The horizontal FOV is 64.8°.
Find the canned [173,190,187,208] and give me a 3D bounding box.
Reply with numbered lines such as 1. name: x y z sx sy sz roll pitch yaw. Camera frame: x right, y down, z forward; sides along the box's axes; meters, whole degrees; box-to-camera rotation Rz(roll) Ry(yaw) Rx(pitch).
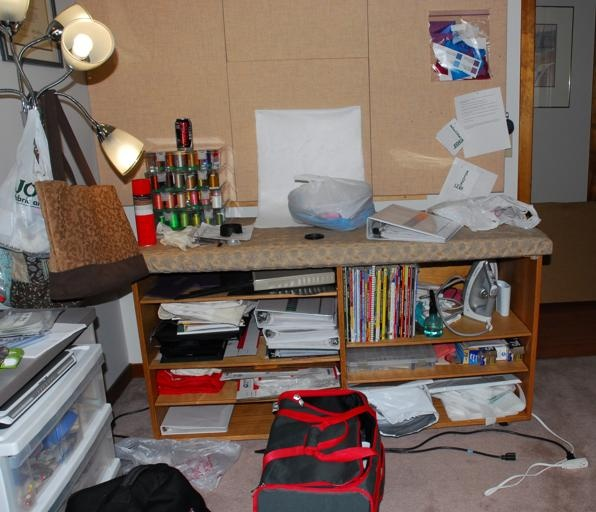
1. canned: -0.499 -0.244 2.004 0.062 0.092 0.061 -2 15 -14

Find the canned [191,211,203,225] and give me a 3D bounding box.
1. canned: -0.446 -0.175 2.069 0.045 0.069 0.044 10 19 26

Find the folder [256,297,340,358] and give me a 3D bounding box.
1. folder: -0.004 0.276 1.896 0.303 0.212 0.100 -1 -14 0

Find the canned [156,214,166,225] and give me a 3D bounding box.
1. canned: -0.600 -0.166 2.064 0.042 0.047 0.043 12 19 37

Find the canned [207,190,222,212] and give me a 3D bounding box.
1. canned: -0.358 -0.257 2.075 0.042 0.093 0.091 -1 14 4

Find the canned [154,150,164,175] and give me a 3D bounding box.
1. canned: -0.583 -0.400 2.006 0.043 0.091 0.038 -3 15 -3

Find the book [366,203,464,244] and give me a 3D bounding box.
1. book: 0.471 -0.085 1.934 0.315 0.081 0.350 8 -1 23

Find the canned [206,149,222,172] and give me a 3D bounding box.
1. canned: -0.360 -0.419 2.045 0.048 0.095 0.102 5 16 25

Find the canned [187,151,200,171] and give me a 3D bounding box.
1. canned: -0.445 -0.409 2.008 0.052 0.079 0.033 -6 15 -13

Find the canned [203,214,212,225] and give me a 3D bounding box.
1. canned: -0.398 -0.166 2.072 0.034 0.053 0.033 7 22 15

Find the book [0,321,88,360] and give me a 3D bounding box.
1. book: -0.789 0.254 1.447 0.124 0.030 0.125 -17 9 -9

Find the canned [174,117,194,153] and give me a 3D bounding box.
1. canned: -0.492 -0.533 2.080 0.102 0.146 0.098 -2 -5 -34

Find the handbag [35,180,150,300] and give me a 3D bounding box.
1. handbag: -0.711 -0.044 1.619 0.132 0.413 0.441 1 9 13
